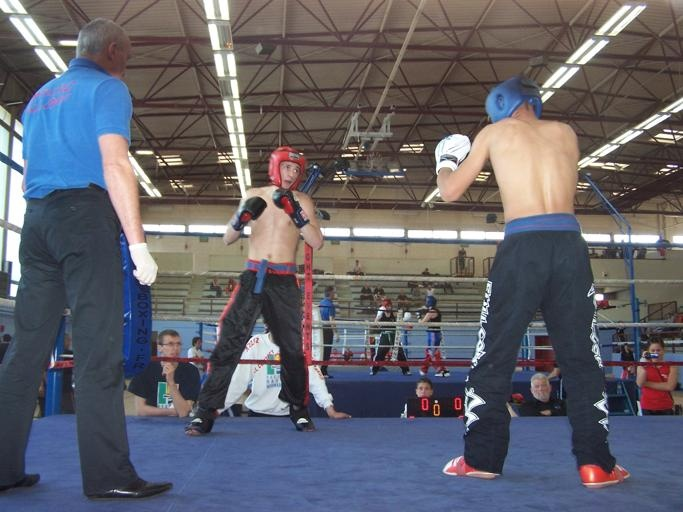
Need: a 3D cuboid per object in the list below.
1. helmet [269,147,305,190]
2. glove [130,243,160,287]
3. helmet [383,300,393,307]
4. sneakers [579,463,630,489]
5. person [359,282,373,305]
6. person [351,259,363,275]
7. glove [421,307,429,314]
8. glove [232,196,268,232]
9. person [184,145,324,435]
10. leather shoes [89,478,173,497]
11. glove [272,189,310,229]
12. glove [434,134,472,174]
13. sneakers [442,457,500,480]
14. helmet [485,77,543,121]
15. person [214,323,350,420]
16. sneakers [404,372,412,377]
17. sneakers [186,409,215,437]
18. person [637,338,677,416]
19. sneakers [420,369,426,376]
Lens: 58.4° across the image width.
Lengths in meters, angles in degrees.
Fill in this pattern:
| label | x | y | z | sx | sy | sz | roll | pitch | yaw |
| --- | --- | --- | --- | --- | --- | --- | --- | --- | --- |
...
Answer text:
| label | x | y | z | sx | sy | sz | roll | pitch | yaw |
| --- | --- | --- | --- | --- | --- | --- | --- | --- | --- |
| helmet | -0.295 | -0.543 | 3.894 | 0.248 | 0.269 | 0.295 | 5 | -9 | -19 |
| glove | -0.767 | 0.031 | 2.364 | 0.139 | 0.153 | 0.052 | -7 | 14 | -14 |
| helmet | 0.790 | 0.775 | 10.129 | 0.164 | 0.154 | 0.173 | 1 | -8 | -1 |
| sneakers | 1.063 | 0.874 | 2.445 | 0.224 | 0.082 | 0.076 | 3 | -8 | -33 |
| person | 0.831 | 1.331 | 21.007 | 0.598 | 0.969 | 0.584 | 2 | -41 | 1 |
| person | 0.608 | 0.361 | 23.138 | 0.434 | 0.666 | 1.143 | 2 | -8 | 0 |
| glove | 1.423 | 0.922 | 10.359 | 0.125 | 0.104 | 0.078 | -1 | 19 | 9 |
| glove | -0.552 | -0.246 | 3.644 | 0.248 | 0.129 | 0.094 | -32 | -43 | 31 |
| person | -0.491 | 0.154 | 3.649 | 0.726 | 1.745 | 0.443 | 3 | -9 | -4 |
| leather shoes | -0.757 | 0.862 | 2.228 | 0.264 | 0.075 | 0.086 | -1 | -13 | -10 |
| glove | -0.296 | -0.290 | 3.558 | 0.117 | 0.172 | 0.234 | -34 | -55 | 17 |
| glove | 0.537 | -0.468 | 2.870 | 0.152 | 0.190 | 0.086 | 21 | -5 | 32 |
| sneakers | 0.536 | 0.876 | 2.563 | 0.238 | 0.088 | 0.082 | 4 | -7 | 15 |
| helmet | 0.780 | -0.726 | 2.872 | 0.271 | 0.154 | 0.206 | -25 | -36 | -25 |
| person | -0.603 | 1.006 | 5.588 | 1.125 | 0.882 | 0.646 | 4 | 7 | -19 |
| sneakers | 1.005 | 1.808 | 9.269 | 0.115 | 0.045 | 0.170 | -1 | -9 | -8 |
| sneakers | -0.779 | 0.930 | 3.366 | 0.085 | 0.153 | 0.227 | 2 | -25 | 10 |
| person | 3.219 | 1.235 | 6.253 | 0.364 | 0.818 | 1.967 | -3 | -9 | 27 |
| sneakers | 1.217 | 1.758 | 9.101 | 0.120 | 0.090 | 0.098 | -1 | 0 | 8 |
